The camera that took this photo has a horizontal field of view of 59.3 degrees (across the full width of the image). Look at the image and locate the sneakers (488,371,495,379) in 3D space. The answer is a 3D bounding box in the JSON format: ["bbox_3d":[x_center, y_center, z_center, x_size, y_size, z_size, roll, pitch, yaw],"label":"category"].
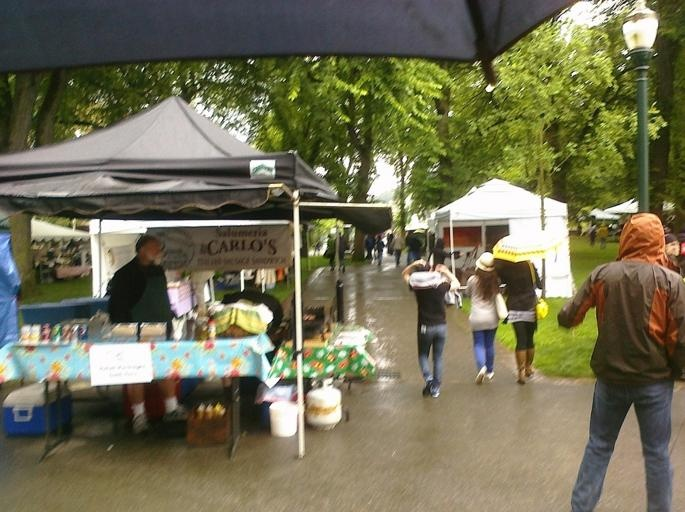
[{"bbox_3d":[2.106,1.686,8.588,0.069,0.073,0.161,6,-12,0],"label":"sneakers"}]

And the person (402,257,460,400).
[{"bbox_3d":[1.216,0.914,8.278,0.691,1.767,1.362,-1,3,10],"label":"person"}]

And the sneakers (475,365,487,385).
[{"bbox_3d":[1.909,1.695,8.366,0.108,0.326,0.135,16,18,13],"label":"sneakers"}]

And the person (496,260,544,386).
[{"bbox_3d":[2.391,0.876,8.229,0.555,1.751,0.450,-2,3,-10],"label":"person"}]

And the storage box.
[{"bbox_3d":[-3.456,1.718,6.684,0.579,0.410,0.597,1,4,-20],"label":"storage box"}]

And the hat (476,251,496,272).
[{"bbox_3d":[1.961,0.086,8.325,0.227,0.236,0.218,-1,3,12],"label":"hat"}]

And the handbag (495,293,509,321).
[{"bbox_3d":[2.125,0.688,8.090,0.077,0.354,0.192,-4,-4,35],"label":"handbag"}]

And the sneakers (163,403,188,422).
[{"bbox_3d":[-1.928,1.813,7.031,0.352,0.164,0.134,-1,42,-19],"label":"sneakers"}]

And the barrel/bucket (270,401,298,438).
[{"bbox_3d":[-0.617,1.848,6.678,0.296,0.305,0.286,0,-17,0],"label":"barrel/bucket"}]

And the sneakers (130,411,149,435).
[{"bbox_3d":[-2.271,1.865,6.756,0.218,0.232,0.144,6,-13,-20],"label":"sneakers"}]
